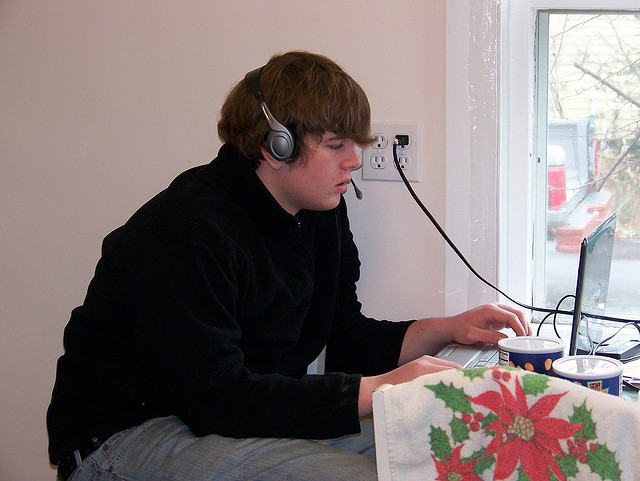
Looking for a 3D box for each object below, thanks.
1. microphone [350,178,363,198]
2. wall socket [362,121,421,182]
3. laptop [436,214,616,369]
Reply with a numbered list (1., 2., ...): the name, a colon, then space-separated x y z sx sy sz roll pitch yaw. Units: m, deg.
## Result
1. microphone: 0.099 -0.143 1.571 0.016 0.060 0.007 -36 -38 21
2. wall socket: 0.200 -0.248 1.574 0.154 0.171 0.016 2 7 15
3. laptop: 0.507 0.113 1.383 0.309 0.268 0.399 0 -9 14
